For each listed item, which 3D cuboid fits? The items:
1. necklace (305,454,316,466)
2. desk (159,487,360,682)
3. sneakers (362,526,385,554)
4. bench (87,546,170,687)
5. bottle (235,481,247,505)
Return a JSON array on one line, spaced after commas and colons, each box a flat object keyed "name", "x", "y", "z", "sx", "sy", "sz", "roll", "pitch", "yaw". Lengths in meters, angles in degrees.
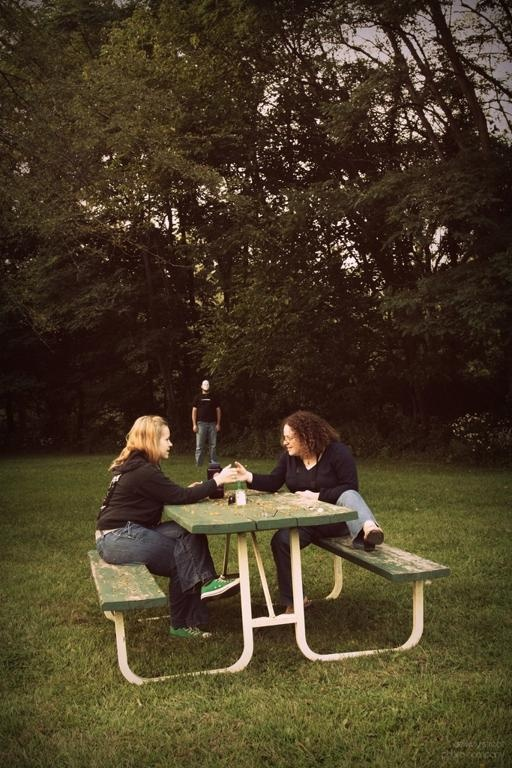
[{"name": "necklace", "x": 0.377, "y": 0.530, "z": 4.828, "sx": 0.067, "sy": 0.053, "sz": 0.069, "roll": -2, "pitch": 2, "yaw": -11}, {"name": "desk", "x": -0.151, "y": 0.906, "z": 4.698, "sx": 0.969, "sy": 0.963, "sz": 1.879, "roll": -2, "pitch": 18, "yaw": -19}, {"name": "sneakers", "x": 0.701, "y": 0.924, "z": 4.093, "sx": 0.079, "sy": 0.102, "sz": 0.244, "roll": 1, "pitch": -45, "yaw": -4}, {"name": "bench", "x": -0.743, "y": 1.314, "z": 3.919, "sx": 0.338, "sy": 0.658, "sz": 1.254, "roll": -2, "pitch": -1, "yaw": -15}, {"name": "bottle", "x": -0.098, "y": 0.691, "z": 4.338, "sx": 0.096, "sy": 0.184, "sz": 0.102, "roll": 2, "pitch": -5, "yaw": 0}]
